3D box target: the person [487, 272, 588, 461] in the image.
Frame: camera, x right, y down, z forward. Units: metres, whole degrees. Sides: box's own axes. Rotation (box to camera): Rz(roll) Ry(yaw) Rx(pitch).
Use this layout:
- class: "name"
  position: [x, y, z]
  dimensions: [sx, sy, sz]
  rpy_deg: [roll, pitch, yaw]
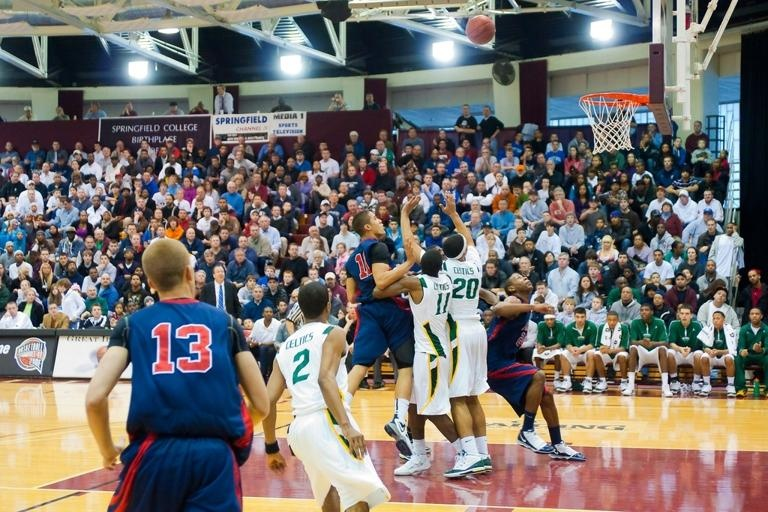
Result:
- class: "person"
  position: [2.095, 1.816, 12.505]
  dimensions: [1.151, 2.284, 0.815]
  rpy_deg: [-1, -1, 4]

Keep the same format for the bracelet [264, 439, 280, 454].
- class: "bracelet"
  position: [-1.278, 2.195, 9.932]
  dimensions: [0.166, 0.147, 0.182]
  rpy_deg: [-1, -1, 4]

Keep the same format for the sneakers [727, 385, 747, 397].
- class: "sneakers"
  position: [6.784, 2.593, 16.524]
  dimensions: [0.387, 0.218, 0.146]
  rpy_deg: [-1, -1, -5]

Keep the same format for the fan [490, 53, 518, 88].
- class: "fan"
  position: [3.985, -6.106, 28.545]
  dimensions: [0.704, 0.748, 0.458]
  rpy_deg: [-1, -1, 2]

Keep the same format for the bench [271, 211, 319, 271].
- class: "bench"
  position: [-2.472, -0.423, 22.665]
  dimensions: [1.547, 1.786, 1.192]
  rpy_deg: [1, -1, -4]
